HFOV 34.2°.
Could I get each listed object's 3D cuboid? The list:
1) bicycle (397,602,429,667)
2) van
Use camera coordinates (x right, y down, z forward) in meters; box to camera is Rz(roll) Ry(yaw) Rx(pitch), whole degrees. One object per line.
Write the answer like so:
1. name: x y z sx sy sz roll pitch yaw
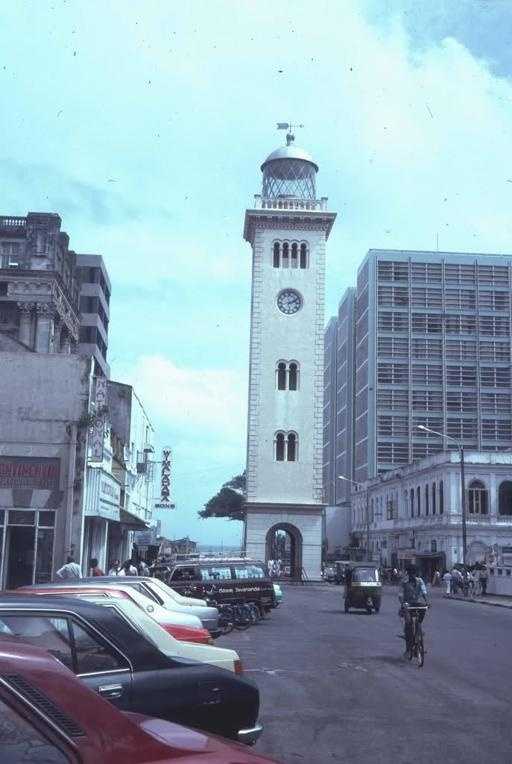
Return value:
1. bicycle: 2.901 4.597 15.133 0.479 1.014 0.498 -2 -6 -7
2. van: -0.825 6.156 25.202 3.585 1.644 1.655 0 -8 4
